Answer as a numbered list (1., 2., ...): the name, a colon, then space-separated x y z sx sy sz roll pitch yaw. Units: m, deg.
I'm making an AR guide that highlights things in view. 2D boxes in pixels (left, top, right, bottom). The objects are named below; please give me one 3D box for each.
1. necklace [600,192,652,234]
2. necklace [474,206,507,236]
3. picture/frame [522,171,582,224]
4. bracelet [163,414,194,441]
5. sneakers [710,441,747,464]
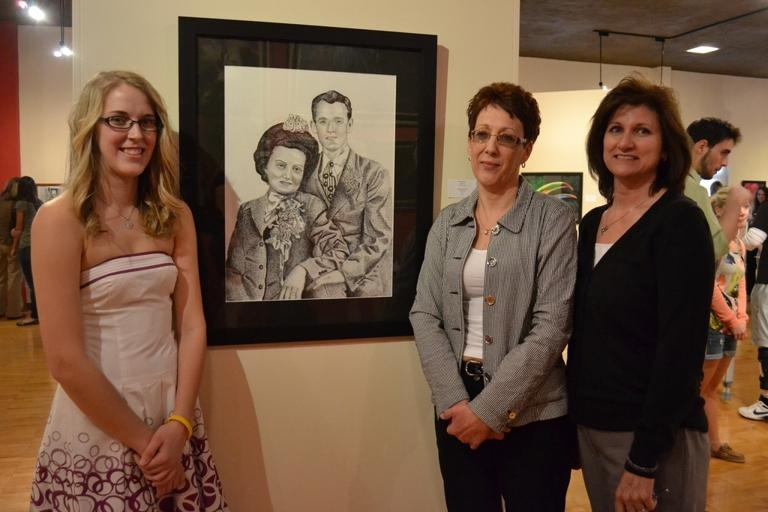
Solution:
1. necklace: 1.312 -0.220 3.203 0.315 0.109 0.016 -30 12 -4
2. necklace: 0.601 -0.196 3.249 0.109 0.157 0.038 -4 -8 25
3. picture/frame: 1.983 -0.753 6.883 0.654 0.693 0.048 4 49 24
4. bracelet: -1.113 0.935 3.158 0.132 0.135 0.045 31 71 33
5. sneakers: 2.994 1.700 5.074 0.278 0.123 0.126 1 8 25
